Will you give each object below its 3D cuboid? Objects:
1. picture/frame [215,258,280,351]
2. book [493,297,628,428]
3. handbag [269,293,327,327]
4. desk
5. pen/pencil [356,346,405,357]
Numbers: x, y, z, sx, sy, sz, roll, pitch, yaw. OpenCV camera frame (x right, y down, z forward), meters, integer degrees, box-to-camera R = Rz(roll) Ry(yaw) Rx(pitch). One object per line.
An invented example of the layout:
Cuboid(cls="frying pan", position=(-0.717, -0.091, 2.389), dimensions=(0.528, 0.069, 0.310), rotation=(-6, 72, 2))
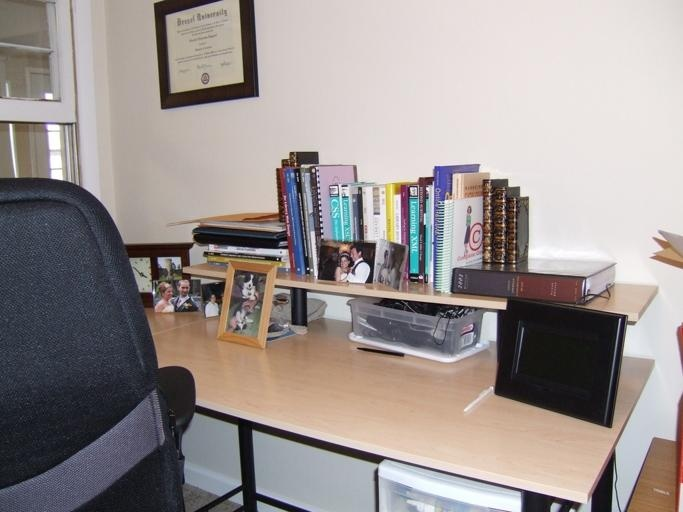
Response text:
Cuboid(cls="picture/frame", position=(-0.337, 0.178, 1.815), dimensions=(0.302, 0.390, 0.028), rotation=(0, -11, 35))
Cuboid(cls="book", position=(0.558, 0.278, 1.276), dimensions=(0.306, 0.300, 0.102), rotation=(7, -2, 34))
Cuboid(cls="handbag", position=(-0.183, 0.215, 2.040), dimensions=(0.121, 0.053, 0.160), rotation=(2, 12, 12))
Cuboid(cls="desk", position=(0.194, 0.353, 1.445), dimensions=(0.842, 0.592, 0.466), rotation=(9, 21, 27))
Cuboid(cls="pen/pencil", position=(0.134, 0.319, 1.668), dimensions=(0.110, 0.017, 0.012), rotation=(8, -28, 18))
